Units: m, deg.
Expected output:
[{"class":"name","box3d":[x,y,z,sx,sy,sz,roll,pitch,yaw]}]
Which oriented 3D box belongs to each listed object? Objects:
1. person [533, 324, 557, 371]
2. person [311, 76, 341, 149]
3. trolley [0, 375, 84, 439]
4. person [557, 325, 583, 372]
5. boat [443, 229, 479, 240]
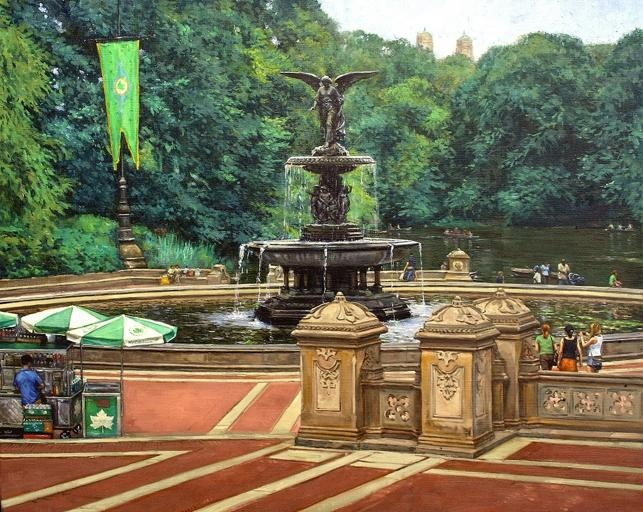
[{"class":"person","box3d":[3.959,1.588,17.965,0.371,0.832,0.709,-1,6,12]},{"class":"person","box3d":[0.157,-3.655,26.031,0.713,1.839,0.729,-2,6,-1]},{"class":"trolley","box3d":[-4.188,2.324,15.573,1.453,1.062,0.792,0,-4,1]},{"class":"person","box3d":[4.231,1.561,17.497,0.358,0.790,1.084,-1,5,13]},{"class":"boat","box3d":[9.175,-1.438,65.491,0.748,0.427,2.795,2,-2,35]}]
